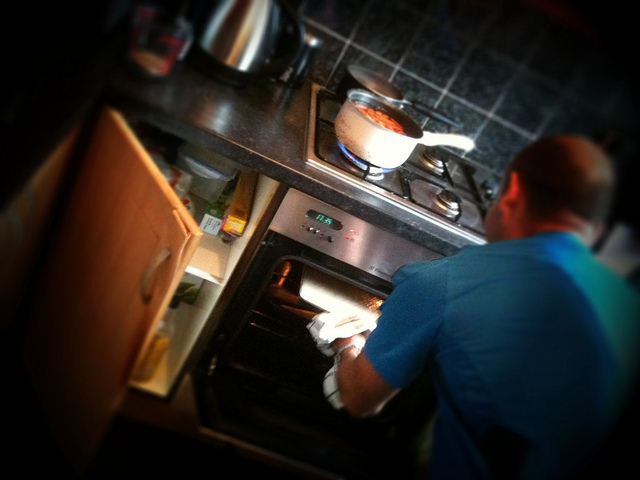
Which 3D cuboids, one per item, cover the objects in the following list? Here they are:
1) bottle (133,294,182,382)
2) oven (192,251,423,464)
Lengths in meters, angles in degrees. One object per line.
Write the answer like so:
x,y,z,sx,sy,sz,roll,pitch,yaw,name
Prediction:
-0.440,0.281,1.369,0.050,0.220,0.199,23,20,-7,bottle
-0.122,0.274,1.520,0.492,0.486,0.340,43,-19,-25,oven
